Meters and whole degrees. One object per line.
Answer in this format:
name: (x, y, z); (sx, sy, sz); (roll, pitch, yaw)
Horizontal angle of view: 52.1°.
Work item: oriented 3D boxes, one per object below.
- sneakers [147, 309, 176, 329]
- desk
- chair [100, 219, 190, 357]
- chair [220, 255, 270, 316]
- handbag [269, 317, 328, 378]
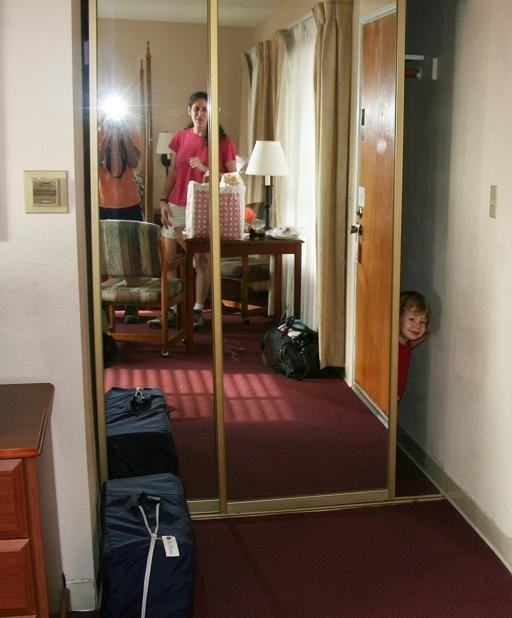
sneakers: (-0.330, 0.031, 1.898); (0.127, 0.092, 0.045); (2, 6, -10)
desk: (-0.040, -0.149, 2.028); (0.237, 0.298, 0.295); (13, 0, -35)
chair: (-0.430, -0.093, 1.888); (0.280, 0.484, 0.278); (-1, 7, -3)
chair: (-0.045, -0.098, 2.039); (0.188, 0.251, 0.279); (-5, 6, -30)
handbag: (0.188, 0.180, 2.091); (0.174, 0.244, 0.232); (-9, -15, -6)
